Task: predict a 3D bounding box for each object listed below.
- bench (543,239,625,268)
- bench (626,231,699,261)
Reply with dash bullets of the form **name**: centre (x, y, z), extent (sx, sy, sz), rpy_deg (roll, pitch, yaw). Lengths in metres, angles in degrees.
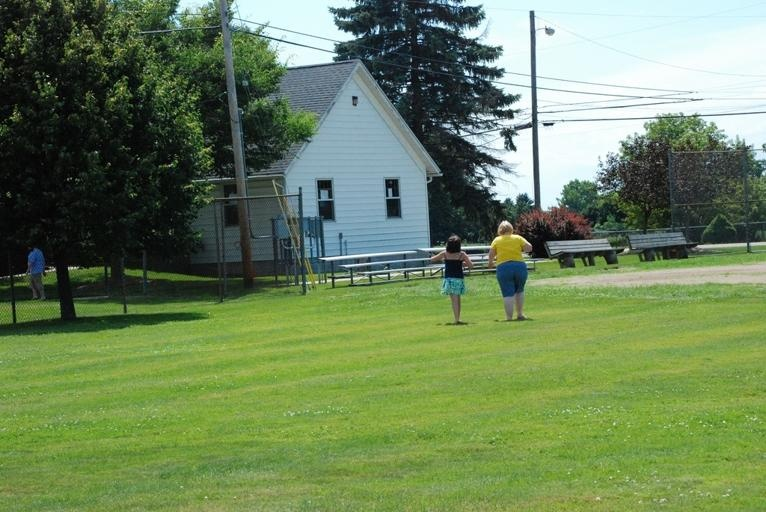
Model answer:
- **bench**: centre (7.265, -0.135, 48.750), extent (1.719, 0.966, 3.237), rpy_deg (-3, 0, 36)
- **bench**: centre (10.612, -0.425, 50.759), extent (2.070, 0.979, 4.006), rpy_deg (-3, 0, 25)
